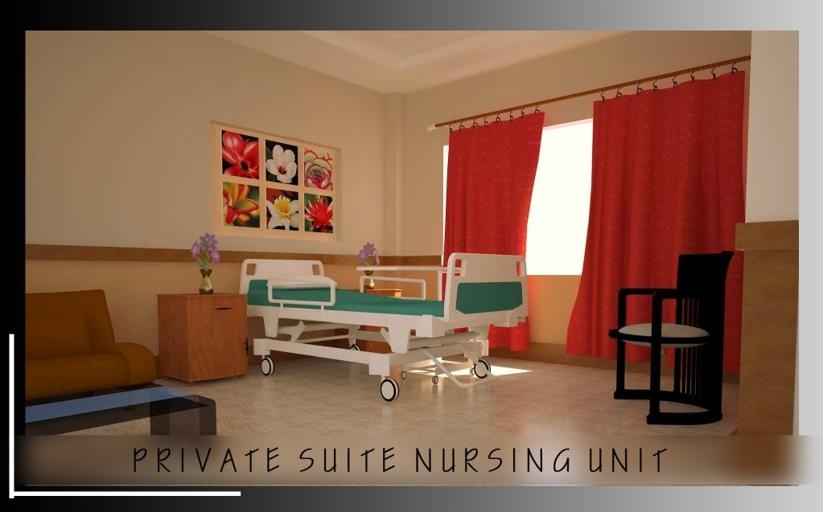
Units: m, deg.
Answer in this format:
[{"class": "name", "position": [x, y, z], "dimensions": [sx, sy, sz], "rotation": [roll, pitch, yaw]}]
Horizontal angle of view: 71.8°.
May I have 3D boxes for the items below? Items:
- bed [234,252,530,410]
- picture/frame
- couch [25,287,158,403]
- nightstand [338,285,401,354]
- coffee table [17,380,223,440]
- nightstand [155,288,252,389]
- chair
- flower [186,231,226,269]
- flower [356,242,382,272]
[{"class": "bed", "position": [-0.229, 0.598, 5.402], "dimensions": [2.442, 1.195, 1.529], "rotation": [-1, -2, 35]}, {"class": "picture/frame", "position": [-1.538, -0.800, 6.190], "dimensions": [1.625, 1.005, 0.105], "rotation": [2, -5, -42]}, {"class": "couch", "position": [-2.593, 0.713, 4.587], "dimensions": [1.151, 0.737, 0.831], "rotation": [3, -6, -42]}, {"class": "nightstand", "position": [-0.356, 0.701, 6.528], "dimensions": [0.575, 0.930, 1.042], "rotation": [-2, -2, 30]}, {"class": "coffee table", "position": [-1.725, 0.939, 3.384], "dimensions": [1.063, 0.261, 0.498], "rotation": [0, -1, 5]}, {"class": "nightstand", "position": [-1.908, 0.747, 5.480], "dimensions": [0.801, 0.947, 0.907], "rotation": [-2, -2, 40]}, {"class": "chair", "position": [1.941, 0.576, 4.289], "dimensions": [0.883, 1.174, 0.894], "rotation": [0, -2, 8]}, {"class": "flower", "position": [-1.960, -0.042, 5.382], "dimensions": [0.231, 0.346, 0.210], "rotation": [1, -1, -25]}, {"class": "flower", "position": [-0.497, -0.001, 6.861], "dimensions": [0.305, 0.340, 0.297], "rotation": [-3, 1, 0]}]
